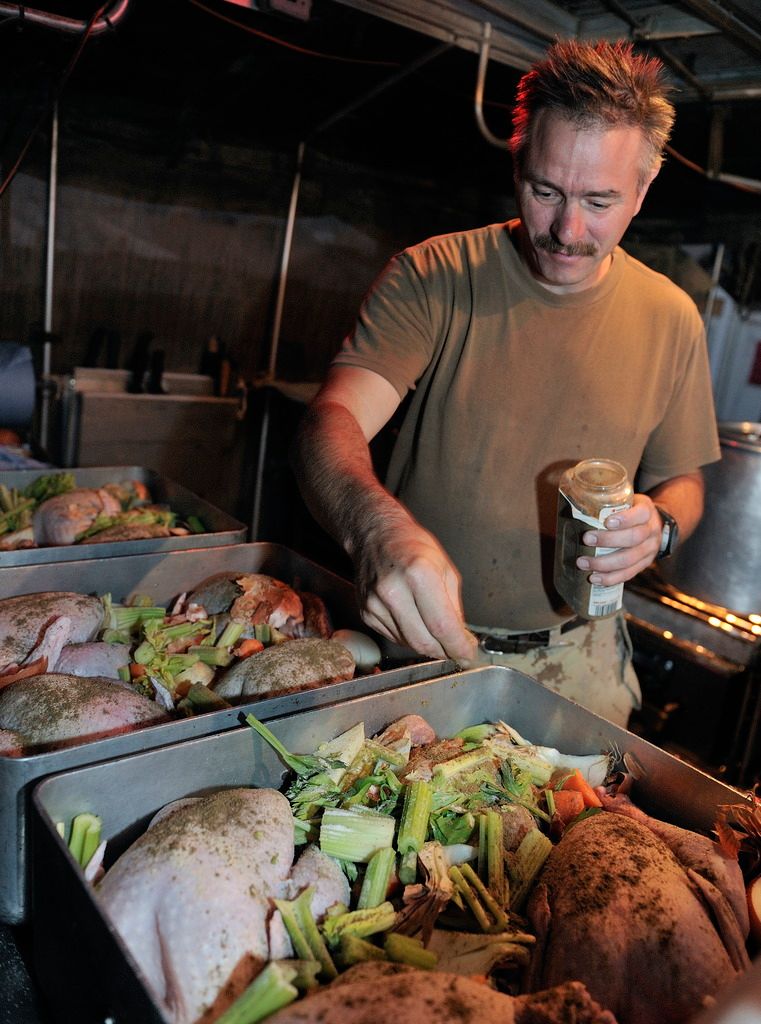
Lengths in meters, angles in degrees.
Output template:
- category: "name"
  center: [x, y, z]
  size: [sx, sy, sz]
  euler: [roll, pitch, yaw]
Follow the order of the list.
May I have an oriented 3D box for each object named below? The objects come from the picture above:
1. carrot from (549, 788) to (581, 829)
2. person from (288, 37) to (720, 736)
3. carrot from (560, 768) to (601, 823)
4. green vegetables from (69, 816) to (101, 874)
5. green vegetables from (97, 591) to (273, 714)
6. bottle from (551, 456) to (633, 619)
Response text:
- category: "carrot"
  center: [0.278, 0.440, 1.239]
  size: [0.034, 0.024, 0.044]
  euler: [-19, 24, 39]
- category: "person"
  center: [0.269, -0.233, 1.415]
  size: [0.547, 1.588, 0.538]
  euler: [0, 8, -14]
- category: "carrot"
  center: [0.303, 0.426, 1.259]
  size: [0.060, 0.021, 0.057]
  euler: [-20, 28, -20]
- category: "green vegetables"
  center: [-0.350, 0.391, 0.998]
  size: [0.047, 0.069, 0.017]
  euler: [2, -1, -29]
- category: "green vegetables"
  center: [-0.397, 0.272, 1.649]
  size: [0.202, 0.118, 0.252]
  euler: [2, 8, -7]
- category: "bottle"
  center: [0.304, 0.047, 1.202]
  size: [0.118, 0.244, 0.161]
  euler: [11, 11, 15]
